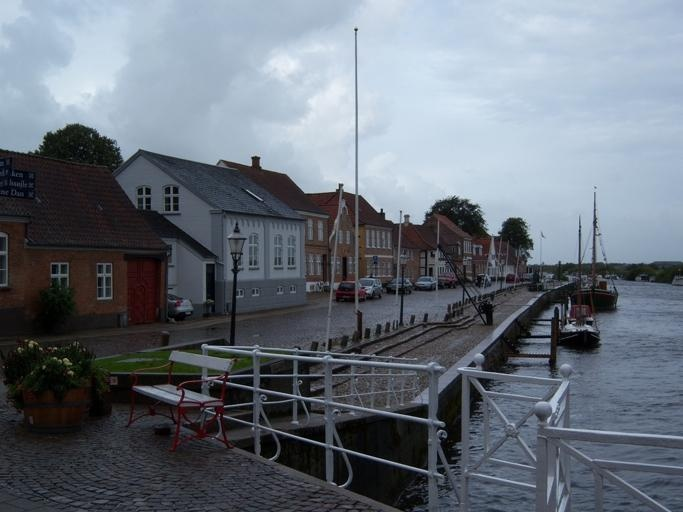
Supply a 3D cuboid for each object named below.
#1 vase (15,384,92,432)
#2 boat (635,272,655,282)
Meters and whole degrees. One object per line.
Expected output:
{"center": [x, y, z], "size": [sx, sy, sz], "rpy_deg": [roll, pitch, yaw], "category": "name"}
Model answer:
{"center": [-4.508, 2.397, 10.791], "size": [0.733, 0.496, 0.746], "rpy_deg": [0, -1, 11], "category": "vase"}
{"center": [89.750, 6.043, 200.249], "size": [4.431, 1.745, 12.825], "rpy_deg": [-4, -3, 23], "category": "boat"}
